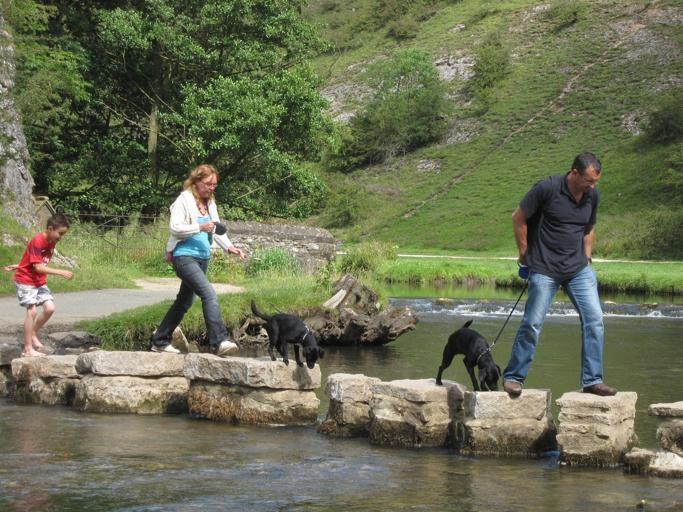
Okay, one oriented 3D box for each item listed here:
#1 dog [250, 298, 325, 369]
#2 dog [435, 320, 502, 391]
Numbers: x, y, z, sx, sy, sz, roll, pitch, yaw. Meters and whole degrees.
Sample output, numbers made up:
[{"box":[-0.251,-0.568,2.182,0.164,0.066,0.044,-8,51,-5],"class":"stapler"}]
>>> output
[{"box":[-1.803,2.439,40.462,2.863,1.795,0.950,16,8,31],"class":"dog"},{"box":[4.215,3.111,39.719,1.793,2.255,1.726,-5,7,-44],"class":"dog"}]
